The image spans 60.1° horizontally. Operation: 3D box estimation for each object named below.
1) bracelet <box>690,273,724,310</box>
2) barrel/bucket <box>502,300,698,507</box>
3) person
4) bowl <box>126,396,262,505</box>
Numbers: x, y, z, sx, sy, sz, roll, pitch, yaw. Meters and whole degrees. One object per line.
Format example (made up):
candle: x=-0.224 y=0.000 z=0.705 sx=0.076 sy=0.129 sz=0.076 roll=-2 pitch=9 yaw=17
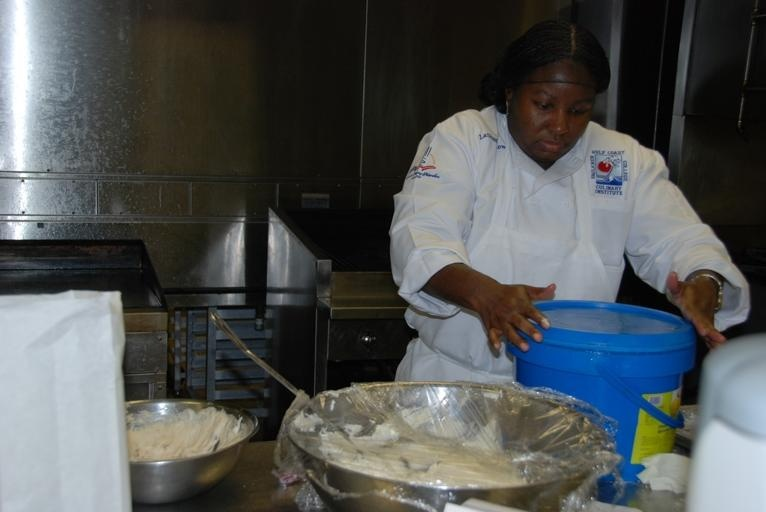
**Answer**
bracelet: x=0.686 y=0.071 z=1.391 sx=0.069 sy=0.079 sz=0.039 roll=2 pitch=-4 yaw=9
barrel/bucket: x=0.414 y=0.234 z=1.213 sx=0.271 sy=0.254 sz=0.281 roll=-1 pitch=11 yaw=0
person: x=0.406 y=-0.082 z=1.424 sx=0.774 sy=0.868 sz=0.581 roll=-1 pitch=8 yaw=-1
bowl: x=-0.327 y=0.325 z=1.153 sx=0.214 sy=0.119 sz=0.226 roll=-1 pitch=8 yaw=0
